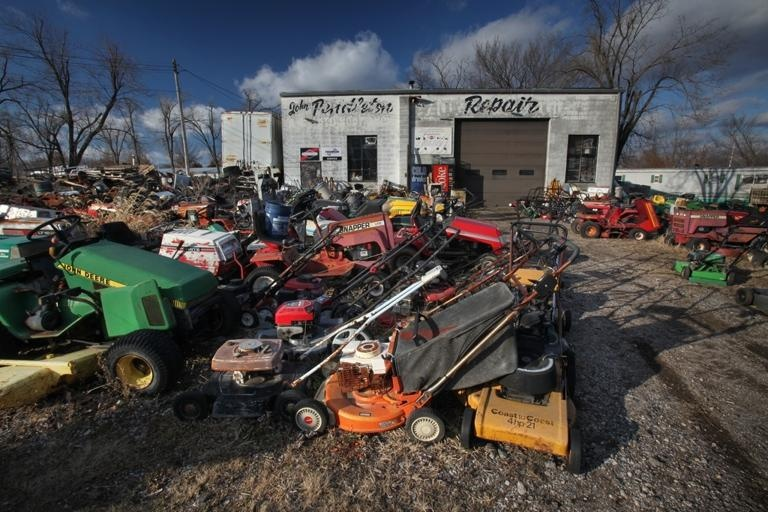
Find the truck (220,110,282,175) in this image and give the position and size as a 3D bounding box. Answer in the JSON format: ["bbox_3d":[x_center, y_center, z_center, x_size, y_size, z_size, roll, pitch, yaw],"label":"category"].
[{"bbox_3d":[-5.869,-5.642,23.772,2.829,2.993,4.619,5,9,13],"label":"truck"}]

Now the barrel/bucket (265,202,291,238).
[{"bbox_3d":[-2.271,-0.786,10.004,0.696,0.805,0.608,5,7,2],"label":"barrel/bucket"}]

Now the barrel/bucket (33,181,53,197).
[{"bbox_3d":[-11.170,-2.202,14.898,0.469,0.462,0.599,-10,17,-35],"label":"barrel/bucket"}]
